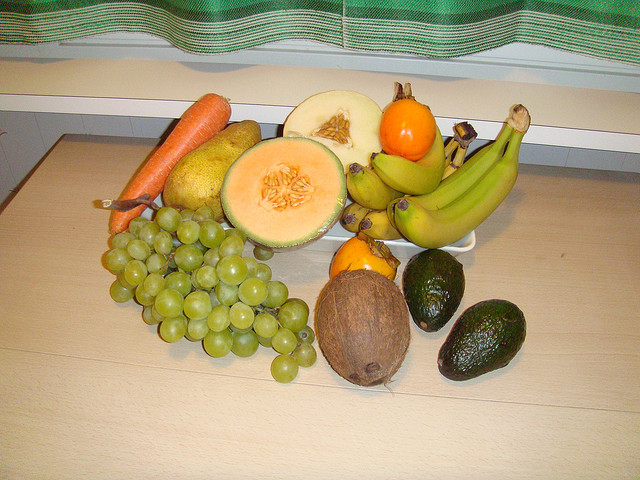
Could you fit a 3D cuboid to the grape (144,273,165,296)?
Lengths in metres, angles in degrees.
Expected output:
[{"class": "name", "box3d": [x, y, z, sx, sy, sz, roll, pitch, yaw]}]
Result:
[{"class": "grape", "box3d": [-0.289, 0.077, 0.934, 0.034, 0.043, 0.036, 13, 21, 42]}]

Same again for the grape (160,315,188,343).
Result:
[{"class": "grape", "box3d": [-0.255, 0.155, 0.934, 0.036, 0.049, 0.037, -3, -29, 9]}]

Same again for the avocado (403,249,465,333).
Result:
[{"class": "avocado", "box3d": [0.209, 0.104, 1.038, 0.110, 0.147, 0.084, 11, -12, -21]}]

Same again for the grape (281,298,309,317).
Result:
[{"class": "grape", "box3d": [-0.048, 0.127, 0.988, 0.031, 0.033, 0.038, -10, -10, 6]}]

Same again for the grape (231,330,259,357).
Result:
[{"class": "grape", "box3d": [-0.134, 0.186, 0.954, 0.036, 0.037, 0.048, 1, 0, 0]}]

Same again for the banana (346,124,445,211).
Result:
[{"class": "banana", "box3d": [0.166, -0.133, 1.083, 0.201, 0.125, 0.117, -34, 23, -26]}]

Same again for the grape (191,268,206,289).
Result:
[{"class": "grape", "box3d": [-0.215, 0.067, 0.961, 0.026, 0.034, 0.026, -10, 10, 10]}]

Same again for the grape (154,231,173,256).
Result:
[{"class": "grape", "box3d": [-0.282, 0.006, 0.967, 0.030, 0.040, 0.031, -3, -14, -19]}]

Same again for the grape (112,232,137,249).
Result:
[{"class": "grape", "box3d": [-0.368, 0.003, 1.006, 0.040, 0.030, 0.029, -6, -1, 1]}]

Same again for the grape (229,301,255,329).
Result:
[{"class": "grape", "box3d": [-0.136, 0.131, 0.926, 0.034, 0.035, 0.044, -5, 37, -10]}]

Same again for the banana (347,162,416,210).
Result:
[{"class": "banana", "box3d": [0.118, -0.101, 1.018, 0.131, 0.091, 0.110, 5, 26, 12]}]

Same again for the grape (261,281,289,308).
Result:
[{"class": "grape", "box3d": [-0.078, 0.098, 0.983, 0.043, 0.052, 0.046, 2, 6, 10]}]

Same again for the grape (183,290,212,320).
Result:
[{"class": "grape", "box3d": [-0.209, 0.114, 0.930, 0.045, 0.053, 0.045, 2, -20, -14]}]

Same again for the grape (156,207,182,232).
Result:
[{"class": "grape", "box3d": [-0.287, -0.045, 1.018, 0.036, 0.036, 0.046, -7, 43, -27]}]

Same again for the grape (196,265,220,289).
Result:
[{"class": "grape", "box3d": [-0.195, 0.064, 0.932, 0.036, 0.036, 0.035, -1, 1, 13]}]

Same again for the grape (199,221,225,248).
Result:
[{"class": "grape", "box3d": [-0.198, -0.009, 0.975, 0.044, 0.052, 0.045, 5, -13, 13]}]

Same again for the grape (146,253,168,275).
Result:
[{"class": "grape", "box3d": [-0.293, 0.045, 0.954, 0.028, 0.030, 0.037, -3, 8, -21]}]

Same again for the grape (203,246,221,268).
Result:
[{"class": "grape", "box3d": [-0.194, 0.032, 0.972, 0.028, 0.038, 0.028, 32, 2, 8]}]

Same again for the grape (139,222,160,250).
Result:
[{"class": "grape", "box3d": [-0.311, -0.005, 0.994, 0.036, 0.048, 0.036, 8, -4, -4]}]

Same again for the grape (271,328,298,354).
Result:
[{"class": "grape", "box3d": [-0.061, 0.176, 0.939, 0.034, 0.034, 0.043, -4, 4, -13]}]

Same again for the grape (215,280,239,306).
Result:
[{"class": "grape", "box3d": [-0.163, 0.094, 0.937, 0.032, 0.033, 0.043, 1, 7, -3]}]

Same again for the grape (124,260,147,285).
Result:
[{"class": "grape", "box3d": [-0.322, 0.056, 0.950, 0.033, 0.035, 0.044, 3, 25, -7]}]

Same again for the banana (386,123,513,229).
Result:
[{"class": "banana", "box3d": [0.241, -0.153, 1.155, 0.293, 0.230, 0.196, -3, 32, -6]}]

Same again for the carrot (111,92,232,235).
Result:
[{"class": "carrot", "box3d": [-0.304, -0.155, 1.113, 0.072, 0.315, 0.075, 26, -14, 25]}]

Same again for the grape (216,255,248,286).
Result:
[{"class": "grape", "box3d": [-0.153, 0.053, 0.931, 0.050, 0.058, 0.050, -2, -3, -9]}]

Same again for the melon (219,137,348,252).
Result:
[{"class": "melon", "box3d": [-0.070, -0.087, 1.002, 0.195, 0.211, 0.083, 30, -16, 13]}]

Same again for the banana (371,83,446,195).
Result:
[{"class": "banana", "box3d": [0.163, -0.196, 1.039, 0.131, 0.178, 0.151, -4, 33, -8]}]

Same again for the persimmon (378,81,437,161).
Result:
[{"class": "persimmon", "box3d": [0.166, -0.208, 1.017, 0.106, 0.113, 0.047, 3, 18, 8]}]

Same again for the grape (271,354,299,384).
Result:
[{"class": "grape", "box3d": [-0.060, 0.232, 0.952, 0.056, 0.055, 0.051, -6, 22, -20]}]

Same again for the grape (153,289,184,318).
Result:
[{"class": "grape", "box3d": [-0.257, 0.110, 0.918, 0.048, 0.055, 0.047, -7, -16, -22]}]

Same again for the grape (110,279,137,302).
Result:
[{"class": "grape", "box3d": [-0.370, 0.096, 1.017, 0.041, 0.041, 0.054, -4, -3, -12]}]

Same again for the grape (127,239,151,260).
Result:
[{"class": "grape", "box3d": [-0.326, 0.017, 0.966, 0.039, 0.030, 0.030, 37, 36, -8]}]

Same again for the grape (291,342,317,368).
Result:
[{"class": "grape", "box3d": [-0.026, 0.205, 0.945, 0.044, 0.034, 0.033, 12, -12, -10]}]

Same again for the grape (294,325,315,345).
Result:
[{"class": "grape", "box3d": [-0.026, 0.173, 0.968, 0.027, 0.027, 0.038, 1, -33, 19]}]

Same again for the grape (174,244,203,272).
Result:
[{"class": "grape", "box3d": [-0.235, 0.032, 0.964, 0.040, 0.040, 0.051, 1, 4, 3]}]

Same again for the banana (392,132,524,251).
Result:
[{"class": "banana", "box3d": [0.259, -0.100, 1.021, 0.294, 0.195, 0.093, -29, 50, -14]}]

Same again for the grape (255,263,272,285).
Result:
[{"class": "grape", "box3d": [-0.104, 0.062, 1.009, 0.031, 0.038, 0.032, 0, 8, 10]}]

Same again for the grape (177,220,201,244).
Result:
[{"class": "grape", "box3d": [-0.235, -0.012, 0.975, 0.039, 0.046, 0.039, 0, -24, -12]}]

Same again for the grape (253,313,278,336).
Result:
[{"class": "grape", "box3d": [-0.095, 0.149, 0.935, 0.030, 0.031, 0.039, 1, 3, -4]}]

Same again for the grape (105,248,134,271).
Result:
[{"class": "grape", "box3d": [-0.367, 0.036, 0.979, 0.034, 0.036, 0.047, 15, 8, 43]}]

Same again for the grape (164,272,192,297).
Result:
[{"class": "grape", "box3d": [-0.250, 0.077, 0.952, 0.042, 0.050, 0.041, 1, 1, 9]}]

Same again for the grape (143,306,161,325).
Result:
[{"class": "grape", "box3d": [-0.308, 0.136, 0.980, 0.032, 0.032, 0.021, -5, 3, -16]}]

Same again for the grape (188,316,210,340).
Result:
[{"class": "grape", "box3d": [-0.209, 0.154, 0.935, 0.029, 0.030, 0.040, -11, 53, 6]}]

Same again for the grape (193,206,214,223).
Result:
[{"class": "grape", "box3d": [-0.220, -0.049, 1.016, 0.027, 0.029, 0.036, 0, -1, 22]}]

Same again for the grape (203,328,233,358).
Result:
[{"class": "grape", "box3d": [-0.177, 0.179, 0.939, 0.046, 0.055, 0.047, 0, 1, 3]}]

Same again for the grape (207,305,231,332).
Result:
[{"class": "grape", "box3d": [-0.172, 0.137, 0.927, 0.033, 0.034, 0.044, 1, 1, 2]}]

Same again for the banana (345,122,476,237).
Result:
[{"class": "banana", "box3d": [0.176, -0.135, 1.086, 0.348, 0.134, 0.067, -15, 5, -20]}]

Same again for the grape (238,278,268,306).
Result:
[{"class": "grape", "box3d": [-0.116, 0.091, 0.932, 0.046, 0.054, 0.046, 7, 12, 10]}]
